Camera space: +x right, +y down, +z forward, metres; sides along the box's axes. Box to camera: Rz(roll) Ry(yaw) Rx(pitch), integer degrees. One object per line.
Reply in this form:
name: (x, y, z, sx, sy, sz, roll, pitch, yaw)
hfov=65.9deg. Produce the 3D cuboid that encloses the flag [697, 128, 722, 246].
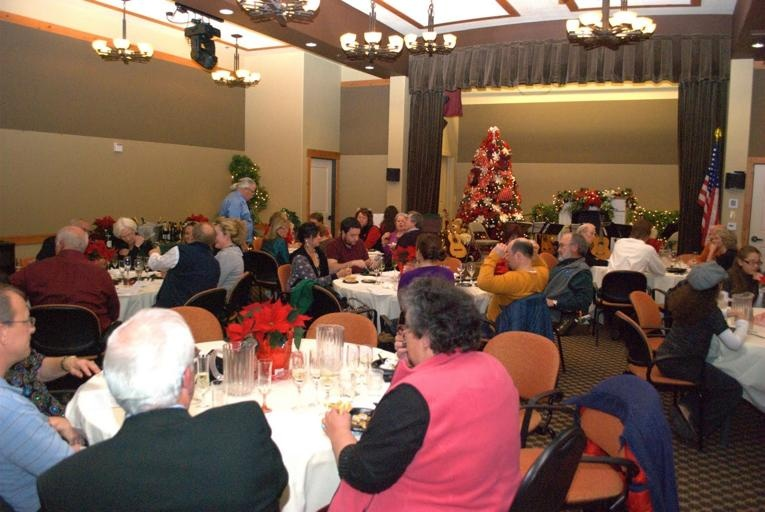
flag: (5.714, -1.234, 10.315, 0.342, 1.990, 0.714, 5, 8, 29)

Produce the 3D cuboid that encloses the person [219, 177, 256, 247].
person: (-2.334, -0.463, 9.566, 0.436, 1.418, 0.668, -2, 10, -11)

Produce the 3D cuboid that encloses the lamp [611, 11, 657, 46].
lamp: (3.282, -3.026, 7.811, 0.732, 0.365, 0.298, -5, 9, -40)

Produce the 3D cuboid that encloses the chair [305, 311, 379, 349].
chair: (-0.282, 0.593, 4.940, 0.330, 0.376, 0.343, 4, -1, 2)

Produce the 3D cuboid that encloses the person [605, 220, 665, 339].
person: (3.446, 0.118, 8.088, 0.736, 1.146, 0.717, 4, 9, 1)

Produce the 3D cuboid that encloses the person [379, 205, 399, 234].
person: (0.111, -0.680, 10.771, 0.422, 0.783, 0.490, 1, 7, 4)

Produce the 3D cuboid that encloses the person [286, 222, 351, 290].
person: (-0.800, 0.008, 6.764, 0.786, 0.919, 0.657, -1, 16, 1)

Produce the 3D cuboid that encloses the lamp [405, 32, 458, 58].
lamp: (0.741, -3.261, 9.004, 0.696, 0.429, 1.092, 3, 7, 10)

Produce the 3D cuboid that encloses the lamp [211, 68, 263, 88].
lamp: (-2.872, -3.488, 11.551, 0.779, 0.347, 0.723, 3, 7, 13)

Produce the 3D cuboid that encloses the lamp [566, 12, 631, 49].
lamp: (2.796, -2.972, 7.878, 0.503, 0.263, 0.622, -8, 14, -36)

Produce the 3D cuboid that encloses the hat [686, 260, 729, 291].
hat: (2.751, 0.172, 5.017, 0.302, 0.126, 0.203, -33, 28, -33)

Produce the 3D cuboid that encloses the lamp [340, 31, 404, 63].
lamp: (-0.149, -2.983, 8.305, 0.855, 0.441, 0.380, 3, 7, 10)

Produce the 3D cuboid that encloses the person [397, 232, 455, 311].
person: (0.409, 0.195, 5.650, 0.559, 0.821, 0.427, -8, 24, -29)

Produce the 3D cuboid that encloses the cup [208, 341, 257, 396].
cup: (-0.928, 0.729, 3.880, 0.367, 0.381, 0.242, 0, 4, 2)

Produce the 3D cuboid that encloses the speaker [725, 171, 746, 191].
speaker: (6.092, -1.285, 10.231, 0.294, 0.328, 0.326, 1, -3, 27)

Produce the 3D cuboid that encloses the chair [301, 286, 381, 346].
chair: (-0.293, 0.543, 4.958, 0.371, 0.459, 0.351, 0, -14, 0)

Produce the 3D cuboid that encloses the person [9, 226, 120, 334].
person: (-3.058, 0.443, 5.717, 1.022, 1.487, 0.768, 4, 8, -25)
